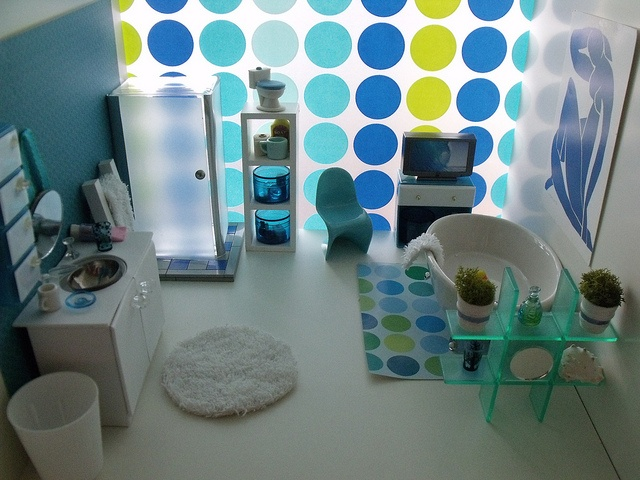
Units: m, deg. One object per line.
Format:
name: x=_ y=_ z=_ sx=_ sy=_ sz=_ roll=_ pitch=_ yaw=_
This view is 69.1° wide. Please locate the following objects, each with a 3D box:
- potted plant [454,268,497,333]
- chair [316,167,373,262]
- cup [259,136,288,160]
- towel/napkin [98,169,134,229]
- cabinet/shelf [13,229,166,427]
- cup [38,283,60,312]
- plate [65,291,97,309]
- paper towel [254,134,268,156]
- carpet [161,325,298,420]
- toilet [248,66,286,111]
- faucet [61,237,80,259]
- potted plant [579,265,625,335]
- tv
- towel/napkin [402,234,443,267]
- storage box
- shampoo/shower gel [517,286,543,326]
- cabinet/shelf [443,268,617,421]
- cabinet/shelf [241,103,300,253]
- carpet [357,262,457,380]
potted plant: x=0.964 y=0.373 z=2.936 sx=0.204 sy=0.368 sz=0.268 roll=-6 pitch=17 yaw=-15
chair: x=0.237 y=-0.259 z=4.569 sx=0.522 sy=0.847 sz=0.496 roll=-4 pitch=17 yaw=-11
cup: x=-0.435 y=-0.860 z=4.356 sx=0.261 sy=0.185 sz=0.178 roll=-1 pitch=35 yaw=-3
towel/napkin: x=-1.631 y=-0.298 z=3.743 sx=0.192 sy=0.479 sz=0.355 roll=-18 pitch=-25 yaw=3
cabinet/shelf: x=-1.507 y=0.614 z=3.248 sx=0.541 sy=0.821 sz=1.062 roll=-1 pitch=25 yaw=-5
cup: x=-1.632 y=0.335 z=2.770 sx=0.116 sy=0.152 sz=0.159 roll=-11 pitch=19 yaw=-31
plate: x=-1.445 y=0.361 z=2.781 sx=0.159 sy=0.057 sz=0.153 roll=-12 pitch=20 yaw=-34
paper towel: x=-0.583 y=-0.899 z=4.443 sx=0.114 sy=0.208 sz=0.203 roll=3 pitch=29 yaw=1
carpet: x=-0.652 y=0.924 z=3.353 sx=0.955 sy=0.293 sz=0.718 roll=-2 pitch=16 yaw=-2
toilet: x=-0.472 y=-1.388 z=4.257 sx=0.339 sy=0.377 sz=0.248 roll=20 pitch=33 yaw=34
faucet: x=-1.735 y=0.059 z=3.190 sx=0.098 sy=0.120 sz=0.105 roll=6 pitch=25 yaw=0
potted plant: x=1.713 y=0.374 z=2.789 sx=0.229 sy=0.342 sz=0.254 roll=7 pitch=30 yaw=13
tv: x=1.131 y=-0.779 z=4.434 sx=0.668 sy=0.420 sz=0.142 roll=1 pitch=17 yaw=6
towel/napkin: x=0.830 y=0.064 z=3.799 sx=0.274 sy=0.190 sz=0.261 roll=-8 pitch=11 yaw=42
storage box: x=-1.458 y=-0.414 z=4.527 sx=0.952 sy=1.621 sz=0.951 roll=-11 pitch=-18 yaw=-7
shampoo/shower gel: x=1.323 y=0.403 z=2.882 sx=0.143 sy=0.253 sz=0.105 roll=5 pitch=18 yaw=21
cabinet/shelf: x=1.362 y=0.704 z=2.951 sx=0.887 sy=0.990 sz=0.272 roll=-2 pitch=32 yaw=3
cabinet/shelf: x=-0.479 y=-0.396 z=4.501 sx=0.597 sy=1.640 sz=0.496 roll=-2 pitch=-25 yaw=-10
carpet: x=0.659 y=0.631 z=3.839 sx=0.727 sy=0.051 sz=1.214 roll=7 pitch=41 yaw=-8
